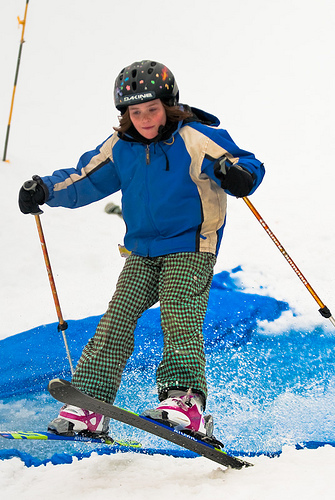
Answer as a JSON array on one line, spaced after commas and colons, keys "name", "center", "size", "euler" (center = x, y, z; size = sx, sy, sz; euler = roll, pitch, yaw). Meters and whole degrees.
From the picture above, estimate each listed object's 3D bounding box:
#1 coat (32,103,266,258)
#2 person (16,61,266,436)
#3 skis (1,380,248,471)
[{"name": "coat", "center": [-0.072, -0.312, 2.924], "size": [1.156, 0.760, 0.327], "euler": [-7, 0, 22]}, {"name": "person", "center": [-0.073, -0.041, 2.780], "size": [1.174, 1.854, 0.681], "euler": [-7, -1, 10]}, {"name": "skis", "center": [-0.232, 0.990, 3.072], "size": [1.947, 0.250, 0.104], "euler": [19, 21, -24]}]
